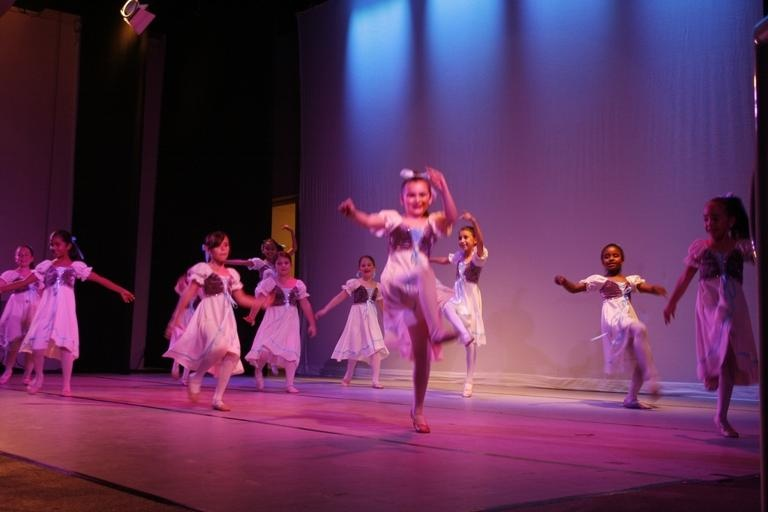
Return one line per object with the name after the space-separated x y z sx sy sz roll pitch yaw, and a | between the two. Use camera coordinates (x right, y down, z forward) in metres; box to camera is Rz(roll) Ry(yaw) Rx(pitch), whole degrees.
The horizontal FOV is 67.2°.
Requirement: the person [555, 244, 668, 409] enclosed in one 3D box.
2.211 0.596 5.457 0.841 1.598 0.731 -9 -28 23 | person

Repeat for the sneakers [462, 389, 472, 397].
0.873 1.417 6.036 0.070 0.065 0.211 -2 -14 3 | sneakers

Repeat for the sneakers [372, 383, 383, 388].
-0.073 1.560 6.997 0.053 0.042 0.143 3 -13 -23 | sneakers

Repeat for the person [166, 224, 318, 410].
-1.487 0.529 4.947 0.646 1.488 0.367 4 -8 -13 | person

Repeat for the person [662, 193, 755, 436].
2.369 0.406 4.134 0.508 1.683 0.341 -4 -9 35 | person

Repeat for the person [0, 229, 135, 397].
-3.948 0.747 7.158 1.445 2.124 0.804 -8 -26 -4 | person

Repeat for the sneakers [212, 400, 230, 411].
-1.341 1.225 4.779 0.129 0.057 0.069 -5 -7 38 | sneakers

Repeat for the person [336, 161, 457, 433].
0.153 0.267 3.918 0.658 1.796 0.474 2 -8 -2 | person
